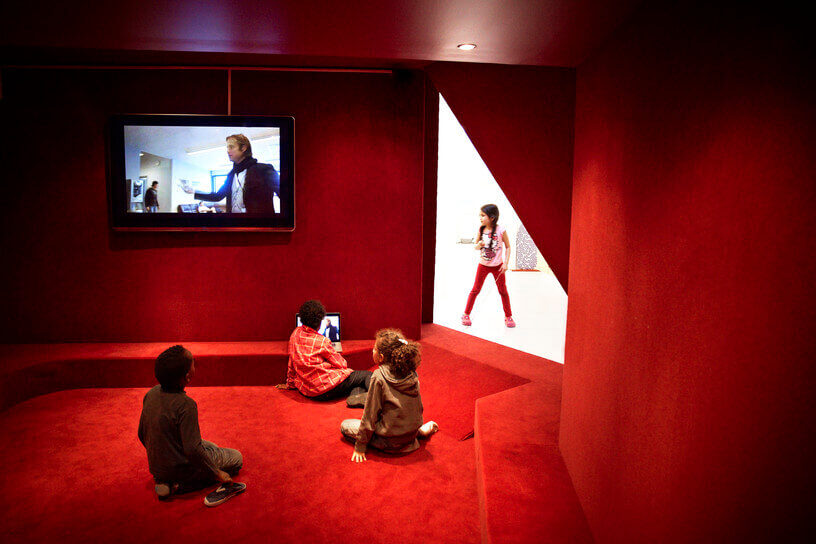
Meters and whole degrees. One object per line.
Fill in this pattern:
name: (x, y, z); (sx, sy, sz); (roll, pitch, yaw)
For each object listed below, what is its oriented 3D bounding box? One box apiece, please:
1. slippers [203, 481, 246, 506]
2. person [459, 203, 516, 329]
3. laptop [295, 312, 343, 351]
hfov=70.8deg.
slippers: (-1.121, 1.330, 3.504); (0.096, 0.081, 0.217); (10, 11, 40)
person: (0.895, -0.064, 6.360); (0.610, 1.375, 0.779); (2, 14, 9)
laptop: (-0.839, 0.567, 5.473); (0.456, 0.419, 0.352); (1, 5, -23)
